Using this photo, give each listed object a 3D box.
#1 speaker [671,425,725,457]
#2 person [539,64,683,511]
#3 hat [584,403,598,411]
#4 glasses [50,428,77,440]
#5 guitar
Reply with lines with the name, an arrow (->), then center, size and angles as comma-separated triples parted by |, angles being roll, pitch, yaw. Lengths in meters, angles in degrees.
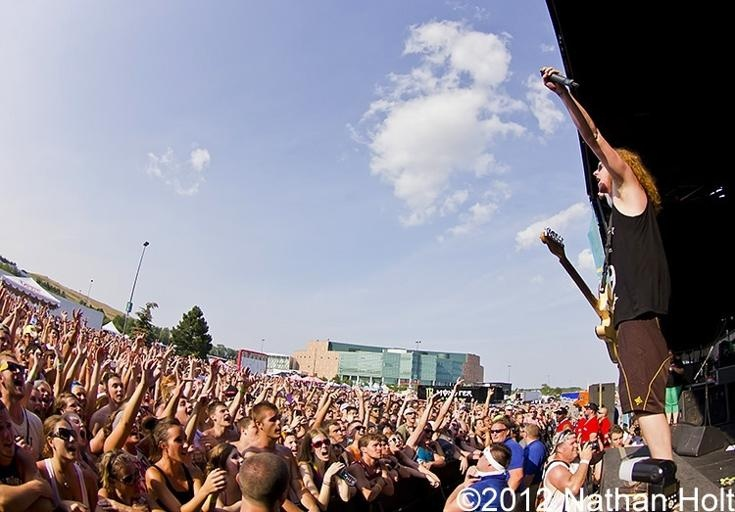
speaker -> 4.028, 2.244, 5.288 | 0.500, 0.192, 0.524 | 11, -22, -21
person -> 2.100, 0.197, 3.414 | 0.482, 2.556, 1.118 | -10, -26, 32
hat -> 6.436, 4.309, 12.484 | 0.294, 0.225, 0.407 | 5, -15, -10
glasses -> -2.998, 1.763, 4.290 | 0.157, 0.069, 0.164 | 17, -60, -21
guitar -> 2.880, 0.297, 5.538 | 0.288, 0.821, 2.126 | 8, -33, 50
